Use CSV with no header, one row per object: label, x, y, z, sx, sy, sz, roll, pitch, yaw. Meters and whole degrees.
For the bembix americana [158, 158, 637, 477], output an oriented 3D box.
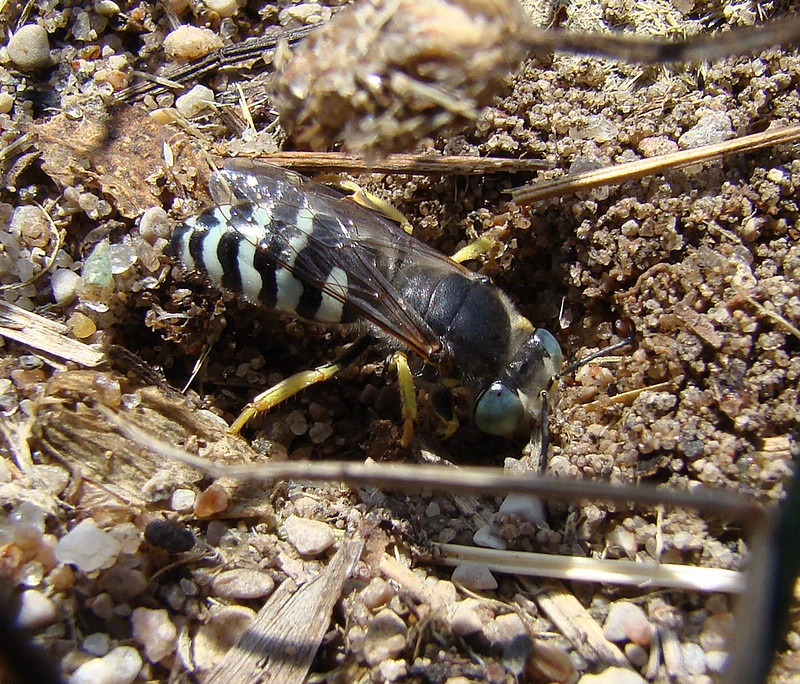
bembix americana,-0.066,-0.087,2.277,1.238,0.905,0.547,5,42,14
